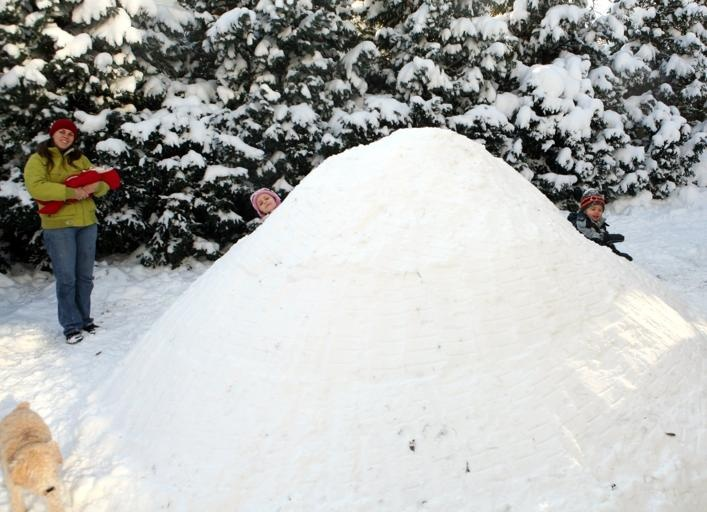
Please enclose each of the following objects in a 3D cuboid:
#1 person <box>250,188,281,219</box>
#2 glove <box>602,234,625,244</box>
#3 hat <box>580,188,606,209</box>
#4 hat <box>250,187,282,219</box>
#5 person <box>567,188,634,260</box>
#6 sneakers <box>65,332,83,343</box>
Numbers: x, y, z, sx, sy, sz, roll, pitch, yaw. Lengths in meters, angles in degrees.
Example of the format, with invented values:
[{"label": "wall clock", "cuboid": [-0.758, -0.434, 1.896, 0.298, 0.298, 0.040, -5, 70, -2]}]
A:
[{"label": "person", "cuboid": [-1.293, -0.731, 11.028, 0.409, 0.485, 0.732, -7, 27, -18]}, {"label": "glove", "cuboid": [3.931, -0.289, 11.064, 0.330, 0.152, 0.205, -3, 9, -9]}, {"label": "hat", "cuboid": [3.648, -0.890, 11.168, 0.335, 0.360, 0.361, 0, 3, -4]}, {"label": "hat", "cuboid": [-1.349, -0.810, 11.173, 0.348, 0.478, 0.389, 13, 27, 23]}, {"label": "person", "cuboid": [3.739, -0.299, 11.277, 0.814, 1.551, 0.778, -12, 17, -34]}, {"label": "sneakers", "cuboid": [-3.872, 1.124, 10.099, 0.263, 0.135, 0.104, -5, -2, 36]}]
